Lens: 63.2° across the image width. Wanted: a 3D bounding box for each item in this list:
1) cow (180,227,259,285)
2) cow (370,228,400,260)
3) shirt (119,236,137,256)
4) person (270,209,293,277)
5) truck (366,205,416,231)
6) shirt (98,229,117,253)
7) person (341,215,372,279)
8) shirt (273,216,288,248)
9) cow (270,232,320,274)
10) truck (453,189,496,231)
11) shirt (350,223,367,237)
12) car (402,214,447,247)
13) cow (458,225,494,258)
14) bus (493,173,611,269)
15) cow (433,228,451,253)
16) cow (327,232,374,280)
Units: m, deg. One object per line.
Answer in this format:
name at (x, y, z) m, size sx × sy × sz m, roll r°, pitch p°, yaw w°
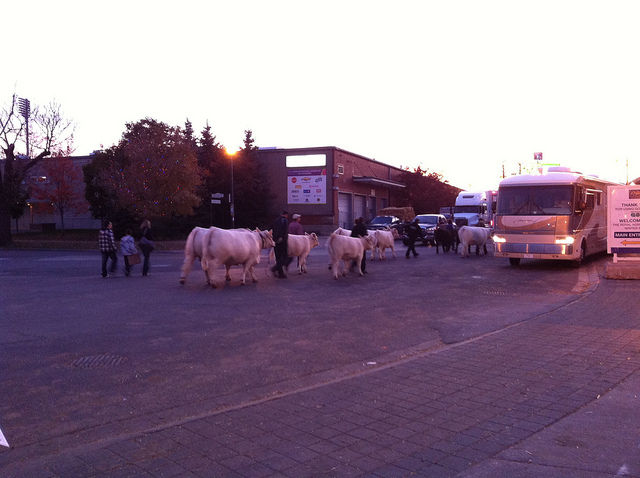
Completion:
cow at (-3.643, 0.151, 17.396) m, size 0.565 × 1.271 × 2.212 m, roll 9°, pitch 16°, yaw 29°
cow at (3.120, 0.166, 26.860) m, size 0.867 × 1.627 × 3.057 m, roll 4°, pitch 7°, yaw 17°
shirt at (-7.366, 0.253, 20.113) m, size 0.535 × 0.720 × 0.591 m, roll -3°, pitch 4°, yaw -38°
person at (-1.486, 0.153, 18.998) m, size 0.653 × 2.284 × 0.934 m, roll 0°, pitch 0°, yaw 45°
truck at (6.292, -1.962, 47.373) m, size 3.030 × 3.057 × 6.837 m, roll 3°, pitch 6°, yaw 29°
shirt at (-8.244, 0.081, 20.160) m, size 0.518 × 0.905 × 0.639 m, roll -2°, pitch 3°, yaw -27°
person at (1.493, 0.331, 20.953) m, size 1.001 × 2.288 × 1.064 m, roll 0°, pitch 10°, yaw -31°
shirt at (-1.398, -0.256, 18.734) m, size 0.583 × 1.131 × 0.549 m, roll -2°, pitch 3°, yaw -18°
cow at (-0.931, 0.472, 19.903) m, size 2.294 × 1.652 × 0.684 m, roll 3°, pitch 1°, yaw -37°
truck at (10.950, -1.953, 36.903) m, size 2.898 × 3.553 × 3.006 m, roll 6°, pitch 5°, yaw 31°
shirt at (1.588, -0.356, 21.477) m, size 0.727 × 0.772 × 0.424 m, roll 2°, pitch -13°, yaw 5°
car at (7.492, -0.649, 36.468) m, size 2.040 × 2.005 × 4.353 m, roll 0°, pitch 1°, yaw 22°
cow at (8.391, 0.053, 27.828) m, size 2.781 × 1.540 × 0.834 m, roll -2°, pitch -1°, yaw -38°
bus at (11.387, -0.981, 24.118) m, size 3.432 × 4.026 × 10.132 m, roll 1°, pitch 4°, yaw 38°
cow at (7.002, 0.047, 29.882) m, size 0.713 × 1.381 × 1.382 m, roll 1°, pitch 4°, yaw 34°
cow at (1.168, 0.559, 19.369) m, size 2.409 × 1.699 × 0.808 m, roll 1°, pitch -1°, yaw -44°
